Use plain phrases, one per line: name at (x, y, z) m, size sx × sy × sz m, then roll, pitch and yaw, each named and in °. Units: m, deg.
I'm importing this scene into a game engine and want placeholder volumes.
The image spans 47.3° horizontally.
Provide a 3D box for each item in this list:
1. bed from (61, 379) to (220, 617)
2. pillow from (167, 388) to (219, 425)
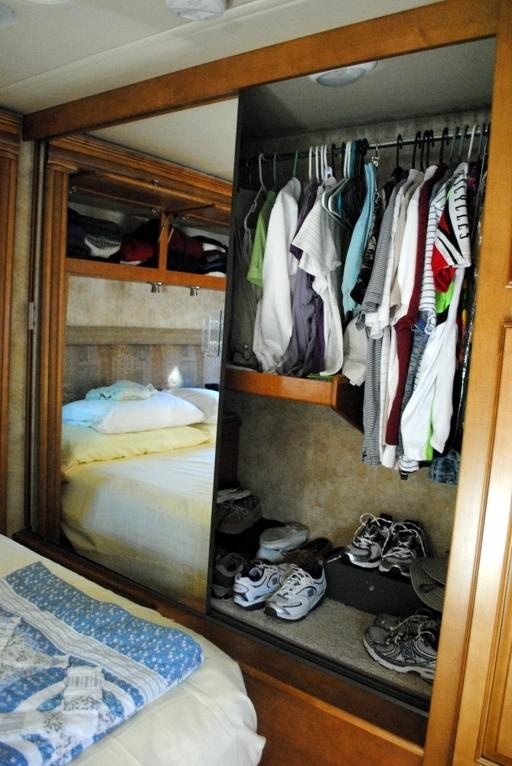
bed at (-0.406, 0.419, 2.344) m, size 0.761 × 0.753 × 0.185 m, roll -2°, pitch -3°, yaw 31°
pillow at (-0.230, 0.064, 2.170) m, size 0.039 × 0.117 × 0.151 m, roll 14°, pitch 6°, yaw -43°
